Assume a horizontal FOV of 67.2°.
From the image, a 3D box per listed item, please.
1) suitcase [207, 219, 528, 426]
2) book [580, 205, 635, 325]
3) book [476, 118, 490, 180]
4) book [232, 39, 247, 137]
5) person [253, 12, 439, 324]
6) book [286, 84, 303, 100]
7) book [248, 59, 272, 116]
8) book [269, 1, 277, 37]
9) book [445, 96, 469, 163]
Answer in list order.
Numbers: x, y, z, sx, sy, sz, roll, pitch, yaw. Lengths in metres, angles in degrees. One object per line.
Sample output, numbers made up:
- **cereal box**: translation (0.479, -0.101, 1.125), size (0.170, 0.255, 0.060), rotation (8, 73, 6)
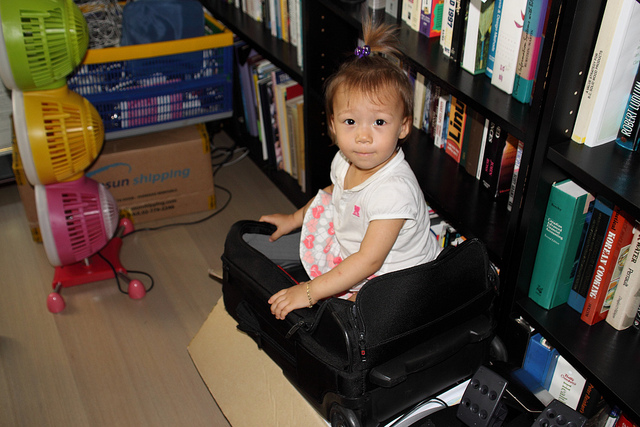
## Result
- **suitcase**: translation (0.053, 0.210, 1.419), size (0.603, 0.393, 0.680), rotation (-25, 47, -27)
- **book**: translation (0.809, 0.156, 1.361), size (0.055, 0.258, 0.190), rotation (15, 17, 14)
- **book**: translation (0.566, -0.221, 1.682), size (0.028, 0.121, 0.130), rotation (5, 75, 9)
- **book**: translation (-0.424, -0.635, 2.460), size (0.046, 0.344, 0.165), rotation (-17, 41, -17)
- **person**: translation (0.100, -0.115, 1.464), size (0.508, 0.841, 0.592), rotation (-3, 27, -6)
- **book**: translation (-0.115, -0.546, 2.148), size (0.059, 0.064, 0.017), rotation (1, 28, -20)
- **book**: translation (-0.283, -0.615, 2.333), size (0.080, 0.242, 0.115), rotation (-23, 36, -26)
- **book**: translation (-0.206, -0.854, 2.099), size (0.023, 0.107, 0.076), rotation (-3, -4, 1)
- **book**: translation (0.479, -0.294, 1.744), size (0.025, 0.198, 0.109), rotation (-28, 47, -27)
